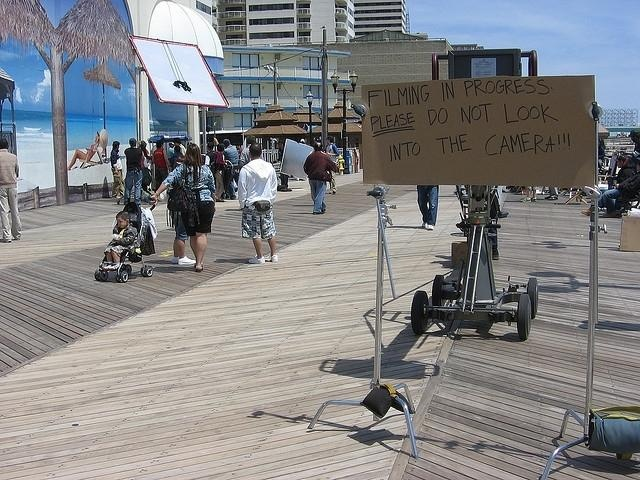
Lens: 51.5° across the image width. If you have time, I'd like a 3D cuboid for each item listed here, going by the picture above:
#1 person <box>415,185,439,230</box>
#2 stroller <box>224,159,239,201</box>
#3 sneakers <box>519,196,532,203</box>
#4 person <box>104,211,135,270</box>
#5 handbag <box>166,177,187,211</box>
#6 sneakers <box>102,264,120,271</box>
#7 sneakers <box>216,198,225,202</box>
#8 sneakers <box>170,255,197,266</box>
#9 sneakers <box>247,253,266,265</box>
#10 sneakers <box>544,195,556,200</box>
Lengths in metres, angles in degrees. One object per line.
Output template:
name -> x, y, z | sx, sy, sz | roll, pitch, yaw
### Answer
person -> 2.625, -0.799, 16.008 | 0.454, 1.101, 0.963 | 0, 9, 8
stroller -> -3.106, -2.141, 23.138 | 0.511, 0.960, 1.700 | -5, -12, 5
sneakers -> 6.969, -1.372, 22.506 | 0.422, 0.214, 0.156 | 1, 3, -6
person -> -3.353, -0.053, 11.064 | 0.509, 0.815, 0.524 | -9, 12, -41
handbag -> -2.484, -0.815, 11.567 | 0.467, 0.645, 0.252 | -2, -6, 39
sneakers -> -3.412, 0.440, 10.843 | 0.231, 0.125, 0.141 | 3, 3, 12
sneakers -> -3.520, -1.425, 23.488 | 0.301, 0.155, 0.112 | -1, 11, 11
sneakers -> -2.535, 0.381, 12.336 | 0.394, 0.195, 0.226 | 1, 5, 3
sneakers -> -1.199, 0.346, 12.494 | 0.292, 0.152, 0.158 | 3, 8, 5
sneakers -> 8.153, -1.493, 23.289 | 0.248, 0.091, 0.185 | 4, 10, 32
